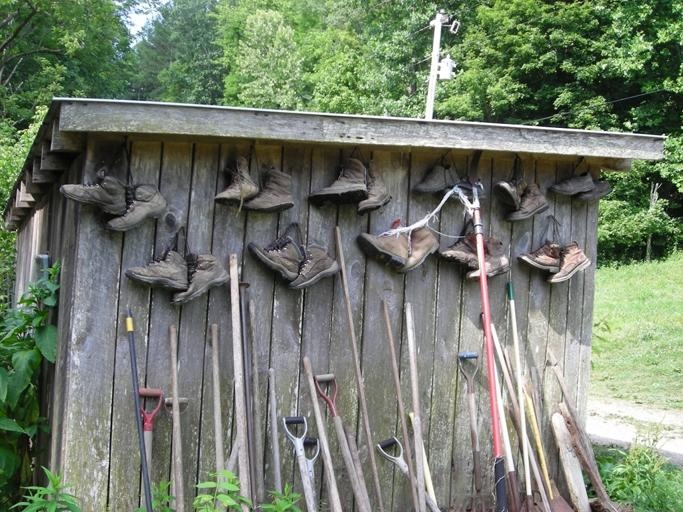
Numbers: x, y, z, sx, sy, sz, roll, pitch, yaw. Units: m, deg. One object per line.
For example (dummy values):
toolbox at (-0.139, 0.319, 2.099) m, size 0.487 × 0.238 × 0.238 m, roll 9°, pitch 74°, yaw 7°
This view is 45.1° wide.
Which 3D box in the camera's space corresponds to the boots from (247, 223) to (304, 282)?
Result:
boots at (-0.581, -0.043, 7.351) m, size 0.488 × 0.507 × 0.262 m, roll 1°, pitch 3°, yaw -5°

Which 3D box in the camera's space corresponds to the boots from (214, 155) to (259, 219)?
boots at (-0.927, -0.648, 7.296) m, size 0.185 × 0.477 × 0.522 m, roll -16°, pitch -2°, yaw 32°

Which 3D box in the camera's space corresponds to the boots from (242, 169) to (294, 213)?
boots at (-0.641, -0.568, 7.337) m, size 0.500 × 0.511 × 0.251 m, roll -1°, pitch -8°, yaw -10°

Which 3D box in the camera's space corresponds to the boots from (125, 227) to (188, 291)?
boots at (-1.604, 0.033, 7.273) m, size 0.525 × 0.779 × 0.254 m, roll 10°, pitch -40°, yaw -16°
